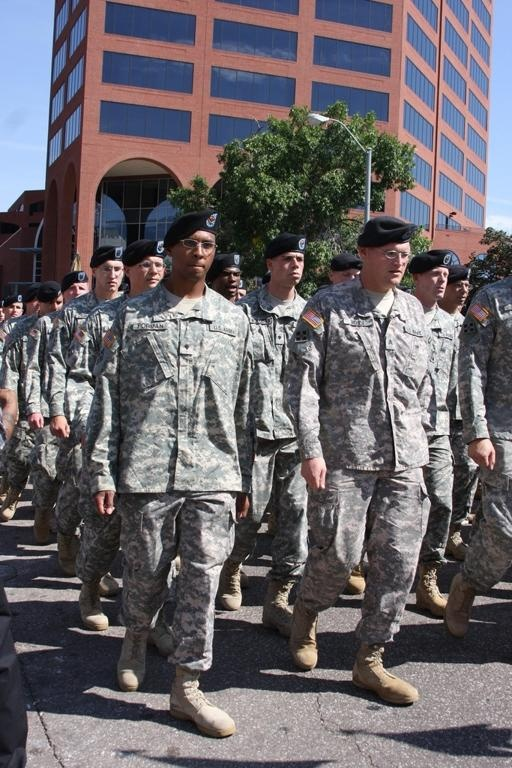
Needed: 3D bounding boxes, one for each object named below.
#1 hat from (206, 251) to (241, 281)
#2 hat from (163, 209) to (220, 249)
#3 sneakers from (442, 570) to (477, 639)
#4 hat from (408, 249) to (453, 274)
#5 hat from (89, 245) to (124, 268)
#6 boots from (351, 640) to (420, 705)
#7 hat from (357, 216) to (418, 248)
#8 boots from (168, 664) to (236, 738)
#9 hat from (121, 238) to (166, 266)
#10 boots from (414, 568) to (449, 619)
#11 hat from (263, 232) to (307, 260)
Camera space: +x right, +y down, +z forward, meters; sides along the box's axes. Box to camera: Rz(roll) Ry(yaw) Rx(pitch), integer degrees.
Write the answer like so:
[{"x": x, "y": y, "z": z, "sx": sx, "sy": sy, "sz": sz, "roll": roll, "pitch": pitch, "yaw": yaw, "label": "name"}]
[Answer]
[{"x": -0.271, "y": -0.937, "z": 6.013, "sx": 0.209, "sy": 0.098, "sz": 0.244, "roll": -3, "pitch": -6, "yaw": -32, "label": "hat"}, {"x": -0.293, "y": -0.707, "z": 3.406, "sx": 0.207, "sy": 0.083, "sz": 0.183, "roll": -18, "pitch": -1, "yaw": 42, "label": "hat"}, {"x": 1.161, "y": 1.281, "z": 4.353, "sx": 0.143, "sy": 0.394, "sz": 0.173, "roll": 3, "pitch": 3, "yaw": 0, "label": "sneakers"}, {"x": 1.189, "y": -0.840, "z": 5.274, "sx": 0.210, "sy": 0.089, "sz": 0.239, "roll": -7, "pitch": 1, "yaw": -35, "label": "hat"}, {"x": -1.095, "y": -0.952, "z": 5.610, "sx": 0.161, "sy": 0.088, "sz": 0.226, "roll": -3, "pitch": -1, "yaw": -41, "label": "hat"}, {"x": 0.655, "y": 1.347, "z": 3.572, "sx": 0.388, "sy": 0.255, "sz": 0.135, "roll": 7, "pitch": 9, "yaw": 42, "label": "boots"}, {"x": 0.597, "y": -0.730, "z": 3.686, "sx": 0.175, "sy": 0.079, "sz": 0.233, "roll": -6, "pitch": 8, "yaw": -33, "label": "hat"}, {"x": -0.226, "y": 1.321, "z": 3.145, "sx": 0.317, "sy": 0.182, "sz": 0.113, "roll": 8, "pitch": 6, "yaw": 36, "label": "boots"}, {"x": -0.751, "y": -0.870, "z": 5.070, "sx": 0.249, "sy": 0.112, "sz": 0.349, "roll": -8, "pitch": -6, "yaw": -43, "label": "hat"}, {"x": 1.146, "y": 1.341, "z": 4.906, "sx": 0.112, "sy": 0.237, "sz": 0.259, "roll": 15, "pitch": -16, "yaw": -32, "label": "boots"}, {"x": 0.178, "y": -0.881, "z": 4.902, "sx": 0.174, "sy": 0.079, "sz": 0.217, "roll": -5, "pitch": -2, "yaw": -34, "label": "hat"}]
